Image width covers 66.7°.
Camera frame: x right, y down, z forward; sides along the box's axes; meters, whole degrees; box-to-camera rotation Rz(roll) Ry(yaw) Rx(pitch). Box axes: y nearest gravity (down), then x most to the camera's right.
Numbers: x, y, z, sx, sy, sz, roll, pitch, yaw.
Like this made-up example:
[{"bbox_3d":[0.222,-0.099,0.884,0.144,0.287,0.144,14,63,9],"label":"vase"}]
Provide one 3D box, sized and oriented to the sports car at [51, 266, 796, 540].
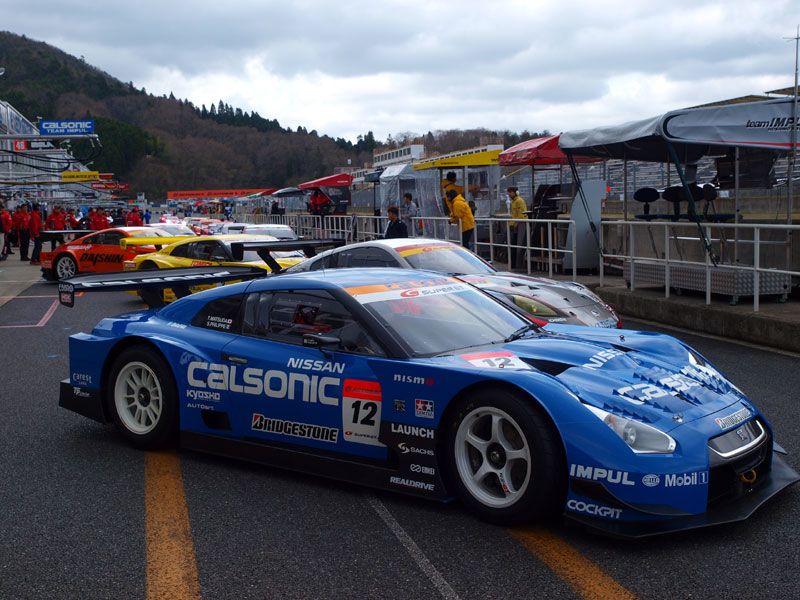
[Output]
[{"bbox_3d":[0.080,0.578,4.770,5.117,1.597,1.418,2,9,31],"label":"sports car"}]
